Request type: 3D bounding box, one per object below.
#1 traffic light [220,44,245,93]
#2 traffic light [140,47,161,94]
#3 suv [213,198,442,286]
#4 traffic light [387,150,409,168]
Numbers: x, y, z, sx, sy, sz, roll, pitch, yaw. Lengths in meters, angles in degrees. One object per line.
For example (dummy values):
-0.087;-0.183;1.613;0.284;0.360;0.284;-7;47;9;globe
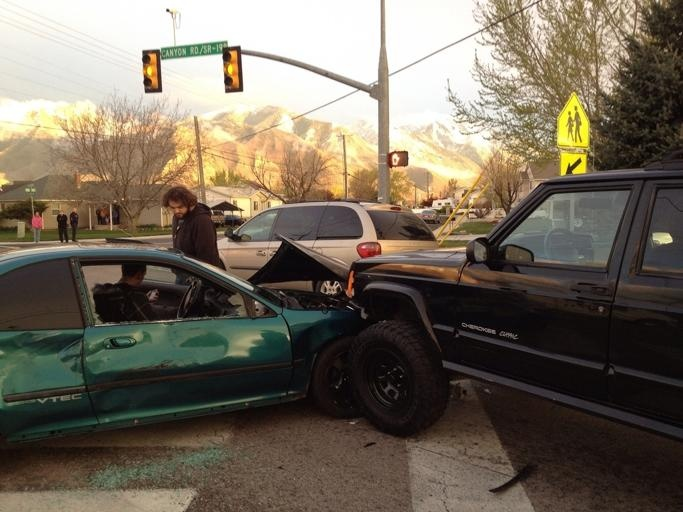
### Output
-3.165;-5.378;14.183;0.542;1.301;0.558;-2;8;-13;traffic light
-5.771;-5.596;14.969;0.653;1.224;0.304;1;8;10;traffic light
-0.475;-0.390;9.257;3.880;1.348;1.803;6;7;40;suv
1.602;-2.795;14.124;0.718;0.580;0.402;-2;7;-13;traffic light
